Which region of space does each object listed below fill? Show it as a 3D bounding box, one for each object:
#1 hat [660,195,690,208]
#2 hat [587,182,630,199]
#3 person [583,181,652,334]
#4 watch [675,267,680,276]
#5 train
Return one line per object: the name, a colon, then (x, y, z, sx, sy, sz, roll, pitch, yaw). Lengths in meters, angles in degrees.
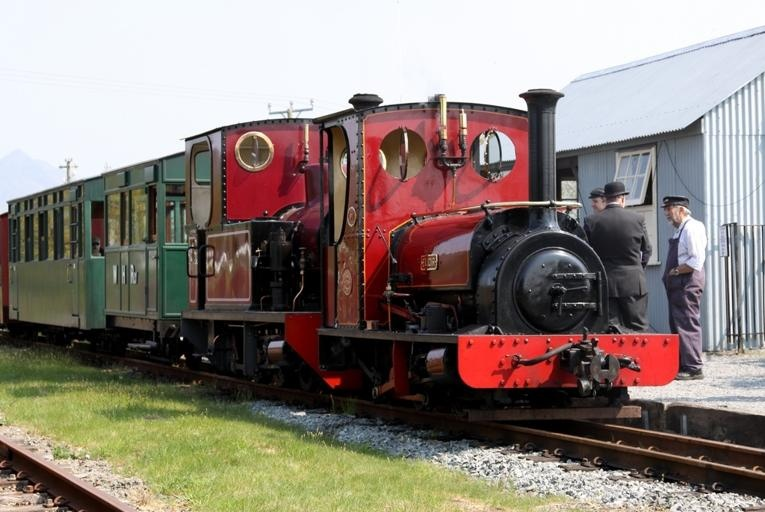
hat: (5.188, -0.965, 15.083, 0.524, 0.181, 0.438, 1, 0, -27)
hat: (3.472, -1.009, 13.235, 0.390, 0.157, 0.472, -4, -4, -4)
person: (3.493, -0.011, 12.936, 0.831, 2.186, 0.404, -1, -5, 12)
watch: (5.086, 0.243, 14.884, 0.066, 0.114, 0.102, 0, 5, 4)
train: (-3.340, 0.141, 18.509, 4.467, 5.363, 19.398, 0, 0, -26)
